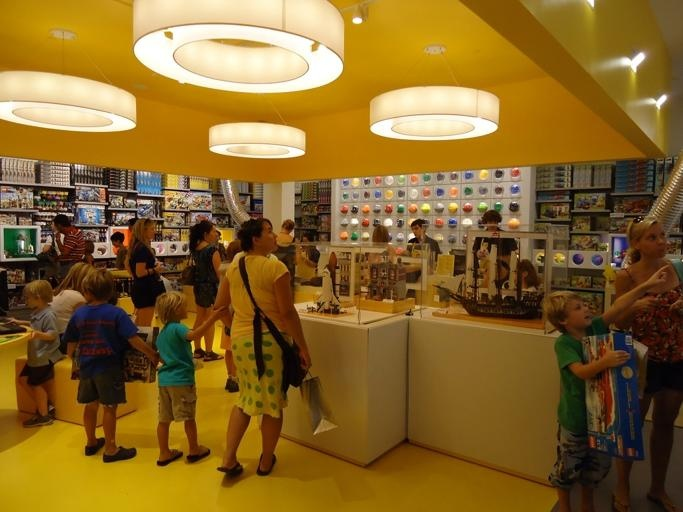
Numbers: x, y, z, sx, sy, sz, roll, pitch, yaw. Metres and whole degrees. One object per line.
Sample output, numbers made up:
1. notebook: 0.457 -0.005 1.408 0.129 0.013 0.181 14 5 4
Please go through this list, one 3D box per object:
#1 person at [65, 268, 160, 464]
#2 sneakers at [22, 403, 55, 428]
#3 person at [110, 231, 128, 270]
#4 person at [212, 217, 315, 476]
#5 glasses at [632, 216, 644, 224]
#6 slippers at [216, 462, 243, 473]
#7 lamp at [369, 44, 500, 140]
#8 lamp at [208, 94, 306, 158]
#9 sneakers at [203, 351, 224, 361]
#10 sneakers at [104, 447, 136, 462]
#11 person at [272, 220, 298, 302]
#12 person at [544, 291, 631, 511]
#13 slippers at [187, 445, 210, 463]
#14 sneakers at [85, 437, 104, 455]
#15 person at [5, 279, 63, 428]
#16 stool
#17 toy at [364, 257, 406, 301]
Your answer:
1. person: -1.934 0.911 4.092 0.748 1.567 0.427 7 15 30
2. sneakers: -2.823 1.558 4.744 0.337 0.218 0.118 6 -9 -28
3. person: -3.991 -0.111 8.961 0.230 0.788 1.666 -6 15 -24
4. person: -0.629 0.740 3.982 0.731 2.040 0.582 -1 13 -5
5. glasses: 2.140 -0.266 3.614 0.052 0.017 0.068 -14 11 40
6. slippers: -0.867 1.689 3.907 0.080 0.080 0.220 -9 -26 42
7. lamp: 0.825 -1.245 4.396 0.907 0.662 0.970 1 -2 -4
8. lamp: -0.892 -1.231 5.224 0.946 0.379 0.848 -4 15 -14
9. sneakers: -1.664 1.302 6.411 0.222 0.103 0.101 -2 3 -16
10. sneakers: -1.831 1.641 4.096 0.208 0.095 0.100 2 -4 -22
11. person: -0.639 0.022 5.223 0.207 0.860 0.222 4 27 -14
12. person: 1.616 1.058 3.392 0.501 1.586 0.411 2 13 11
13. slippers: -1.192 1.657 4.116 0.089 0.070 0.167 1 3 19
14. sneakers: -2.099 1.630 4.245 0.066 0.089 0.208 0 4 6
15. person: -2.816 0.931 4.628 0.384 1.322 0.598 -9 15 -32
16. stool: -2.675 1.335 4.929 0.909 0.635 0.672 1 -3 27
17. toy: 0.393 0.205 4.536 0.317 0.487 0.377 1 1 38
